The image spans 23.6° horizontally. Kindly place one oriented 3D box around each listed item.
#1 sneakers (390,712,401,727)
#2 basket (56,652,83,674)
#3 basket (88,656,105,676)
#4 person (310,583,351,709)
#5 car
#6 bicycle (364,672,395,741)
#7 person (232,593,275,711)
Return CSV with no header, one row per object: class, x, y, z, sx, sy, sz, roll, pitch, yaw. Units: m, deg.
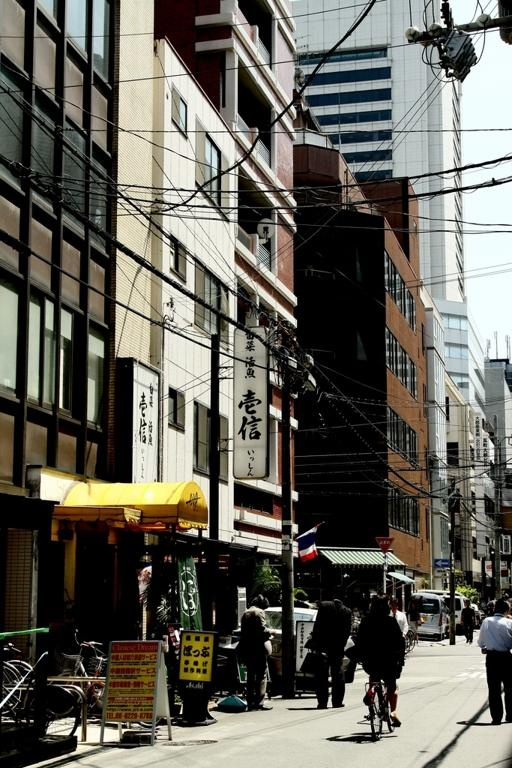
sneakers,1.789,4.288,15.745,0.092,0.159,0.211,-2,-26,2
basket,-2.480,3.704,16.268,0.219,0.334,0.260,2,1,18
basket,-2.266,3.993,17.431,0.193,0.346,0.107,0,-4,8
person,1.151,4.157,19.128,0.573,1.724,0.766,-3,-13,12
car,0.479,5.030,23.282,1.010,1.106,2.053,-2,-4,14
bicycle,1.494,3.959,14.984,0.341,0.555,0.812,-11,-20,7
person,-0.028,4.102,18.935,0.486,1.781,0.833,0,-13,0
